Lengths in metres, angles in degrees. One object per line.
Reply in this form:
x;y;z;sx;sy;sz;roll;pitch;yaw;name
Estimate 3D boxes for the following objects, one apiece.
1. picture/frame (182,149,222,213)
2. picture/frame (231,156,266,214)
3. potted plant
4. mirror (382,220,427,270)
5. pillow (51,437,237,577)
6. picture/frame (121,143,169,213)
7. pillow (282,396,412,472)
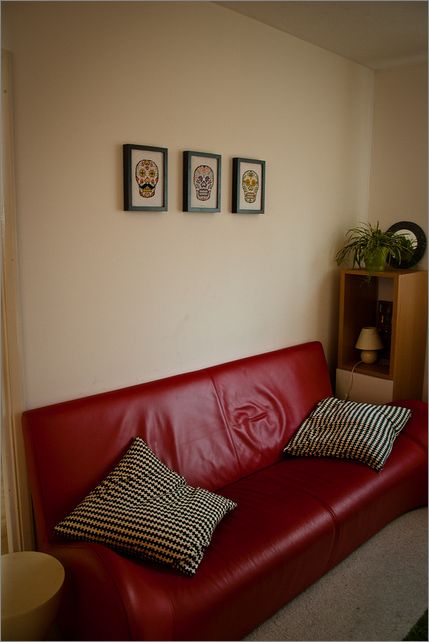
-0.069;-0.656;2.239;0.047;0.346;0.285;9;12;42;picture/frame
0.164;-0.702;2.468;0.041;0.327;0.269;8;13;41;picture/frame
1.040;-0.481;3.063;0.473;0.313;0.459;7;9;42;potted plant
1.192;-0.467;2.998;0.297;0.347;0.016;8;2;32;mirror
-0.214;0.588;1.619;0.464;0.239;0.457;3;7;19;pillow
-0.299;-0.602;2.008;0.032;0.345;0.286;8;10;41;picture/frame
0.621;0.530;2.306;0.339;0.089;0.355;-2;19;29;pillow
